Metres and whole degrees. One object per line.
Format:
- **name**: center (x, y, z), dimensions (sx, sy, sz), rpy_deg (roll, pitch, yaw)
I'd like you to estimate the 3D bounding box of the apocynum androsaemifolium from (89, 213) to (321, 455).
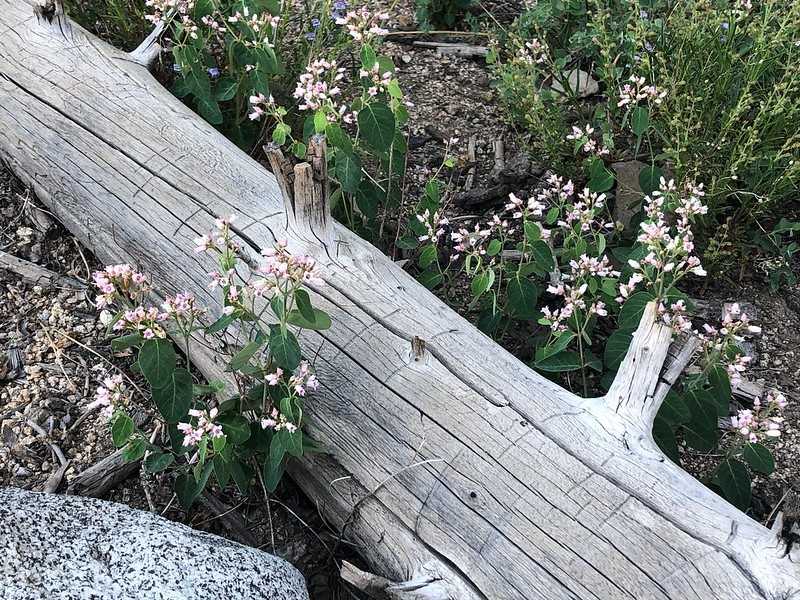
- **apocynum androsaemifolium**: center (-0.871, 0.173, 2.808), dimensions (0.706, 0.763, 0.783), rpy_deg (-11, 55, -34)
